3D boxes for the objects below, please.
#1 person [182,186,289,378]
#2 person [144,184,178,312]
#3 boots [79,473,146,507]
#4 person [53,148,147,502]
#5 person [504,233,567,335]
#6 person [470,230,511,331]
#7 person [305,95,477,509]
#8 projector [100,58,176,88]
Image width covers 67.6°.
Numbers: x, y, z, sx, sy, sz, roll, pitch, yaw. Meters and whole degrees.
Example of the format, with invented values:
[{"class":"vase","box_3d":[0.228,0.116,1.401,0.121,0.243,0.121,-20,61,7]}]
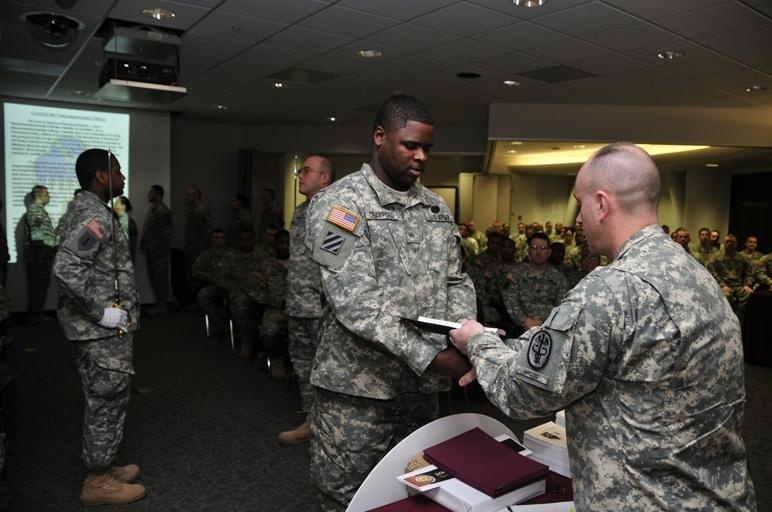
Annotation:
[{"class":"person","box_3d":[-1.591,0.287,7.360,1.161,2.210,1.279,1,8,-43]},{"class":"person","box_3d":[-3.690,-0.119,9.324,0.396,2.051,0.417,-1,9,-37]},{"class":"boots","box_3d":[-1.923,1.631,3.986,0.439,0.203,0.159,0,2,-11]},{"class":"person","box_3d":[-1.973,0.495,3.961,0.492,2.420,0.524,-4,12,-25]},{"class":"person","box_3d":[1.649,0.372,5.992,0.688,1.161,0.692,2,7,4]},{"class":"person","box_3d":[1.248,0.283,6.927,0.536,1.117,0.443,2,17,6]},{"class":"person","box_3d":[-0.026,0.257,3.014,0.855,2.098,0.765,4,7,11]},{"class":"projector","box_3d":[-2.598,-1.908,5.983,0.770,0.261,0.294,0,11,-10]}]
